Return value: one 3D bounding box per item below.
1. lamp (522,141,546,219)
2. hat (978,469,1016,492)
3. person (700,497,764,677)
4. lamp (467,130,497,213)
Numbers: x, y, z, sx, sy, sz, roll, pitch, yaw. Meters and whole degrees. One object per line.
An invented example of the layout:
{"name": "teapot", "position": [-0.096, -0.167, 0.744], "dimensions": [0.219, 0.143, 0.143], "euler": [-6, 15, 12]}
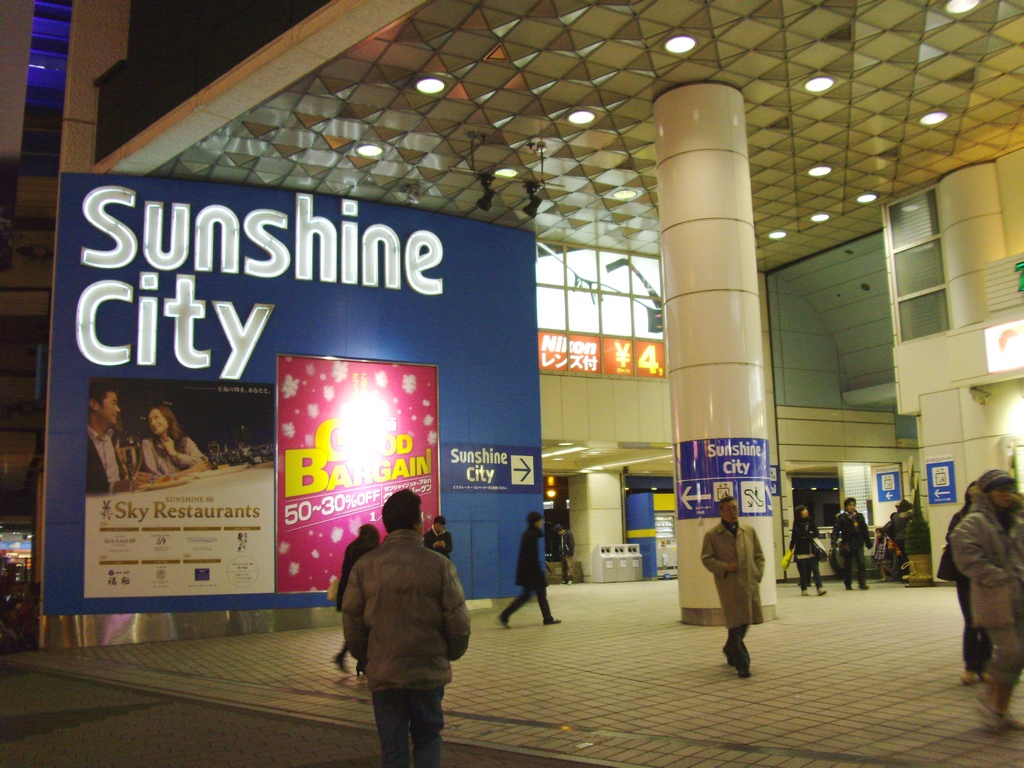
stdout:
{"name": "lamp", "position": [0.457, -3.965, 16.662], "dimensions": [0.673, 1.412, 0.272], "euler": [2, 9, -3]}
{"name": "hat", "position": [4.226, 0.831, 7.541], "dimensions": [0.240, 0.177, 0.196], "euler": [-27, -21, 37]}
{"name": "person", "position": [2.435, 2.182, 9.326], "dimensions": [0.641, 1.876, 0.559], "euler": [-6, -11, 13]}
{"name": "lamp", "position": [-0.503, -4.090, 16.414], "dimensions": [0.435, 1.553, 0.624], "euler": [-24, 38, -21]}
